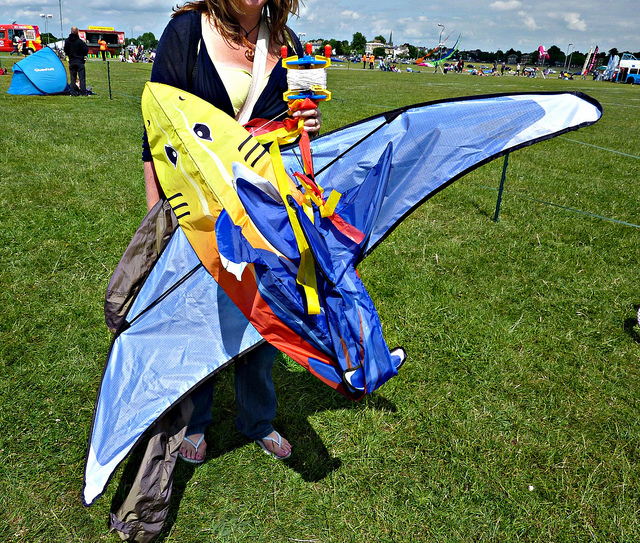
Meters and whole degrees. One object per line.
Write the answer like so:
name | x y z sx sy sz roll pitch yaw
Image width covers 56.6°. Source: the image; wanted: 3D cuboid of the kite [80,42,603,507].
kite | -0.123 0.139 3.208 2.425 2.487 1.300 -10 29 -26
